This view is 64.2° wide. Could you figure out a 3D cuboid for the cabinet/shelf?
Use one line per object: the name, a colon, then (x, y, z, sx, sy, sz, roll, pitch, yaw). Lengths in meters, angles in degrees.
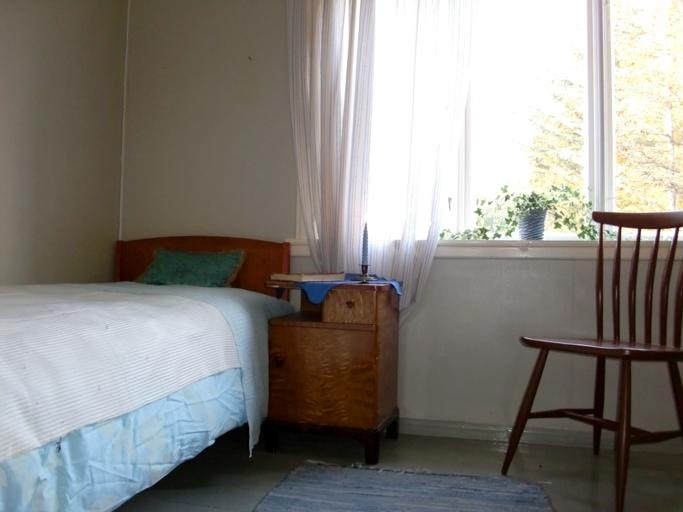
cabinet/shelf: (0.045, 0.558, 2.965, 0.730, 1.092, 0.748, 0, -3, 15)
